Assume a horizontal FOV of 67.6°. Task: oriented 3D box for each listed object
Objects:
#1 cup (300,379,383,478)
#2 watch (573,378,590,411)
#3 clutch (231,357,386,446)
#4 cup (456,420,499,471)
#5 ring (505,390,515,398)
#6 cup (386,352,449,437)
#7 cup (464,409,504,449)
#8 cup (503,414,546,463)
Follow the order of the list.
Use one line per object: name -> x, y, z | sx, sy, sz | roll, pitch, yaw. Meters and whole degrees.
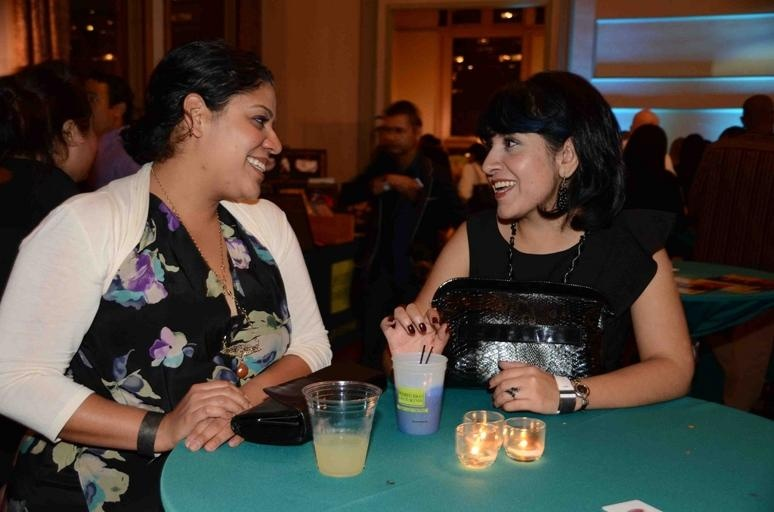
cup -> -0.116, 0.454, 1.624 | 0.229, 0.202, 0.231 | 0, 2, 0
watch -> 0.613, 0.439, 1.828 | 0.069, 0.085, 0.026 | 3, -9, -29
clutch -> -0.240, 0.404, 1.714 | 0.187, 0.084, 0.333 | 9, 14, 41
cup -> 0.237, 0.503, 1.540 | 0.122, 0.102, 0.122 | -1, 5, 0
ring -> 0.381, 0.430, 1.804 | 0.022, 0.022, 0.009 | 49, 29, 13
cup -> 0.094, 0.413, 1.798 | 0.218, 0.239, 0.213 | 0, 6, 0
cup -> 0.275, 0.488, 1.622 | 0.102, 0.074, 0.100 | 1, -3, 0
cup -> 0.389, 0.512, 1.630 | 0.113, 0.090, 0.110 | 0, -4, 0
